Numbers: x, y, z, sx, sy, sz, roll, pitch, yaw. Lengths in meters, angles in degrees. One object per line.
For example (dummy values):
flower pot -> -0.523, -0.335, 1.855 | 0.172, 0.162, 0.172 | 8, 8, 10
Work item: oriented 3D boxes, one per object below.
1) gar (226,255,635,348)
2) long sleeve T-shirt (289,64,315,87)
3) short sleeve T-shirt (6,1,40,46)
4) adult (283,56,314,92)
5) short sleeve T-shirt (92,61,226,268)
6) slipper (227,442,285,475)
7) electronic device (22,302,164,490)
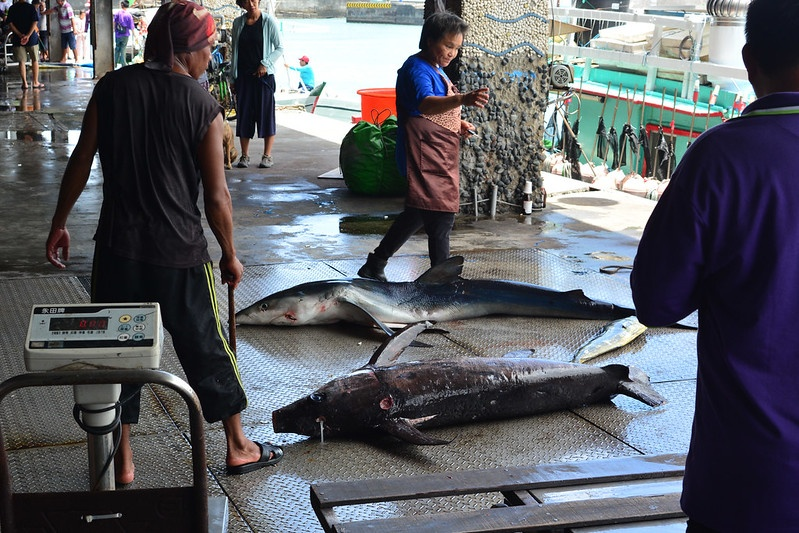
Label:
gar -> 0.516, 0.192, 5.420 | 3.911, 0.863, 0.628 | 0, 55, -9
long sleeve T-shirt -> -3.830, -7.412, 25.031 | 0.852, 1.005, 1.535 | 4, 12, -2
short sleeve T-shirt -> -10.143, -6.528, 17.155 | 0.678, 1.124, 0.611 | -3, 16, -26
adult -> -3.949, -7.484, 25.503 | 1.236, 1.615, 0.713 | 11, 24, 11
short sleeve T-shirt -> -1.153, -0.468, 2.999 | 0.560, 0.940, 0.251 | 2, 16, -11
slipper -> -0.754, 1.005, 3.370 | 0.270, 0.071, 0.135 | -8, 13, -36
electronic device -> -1.117, 0.527, 2.363 | 0.453, 0.790, 0.306 | 2, 15, -9
